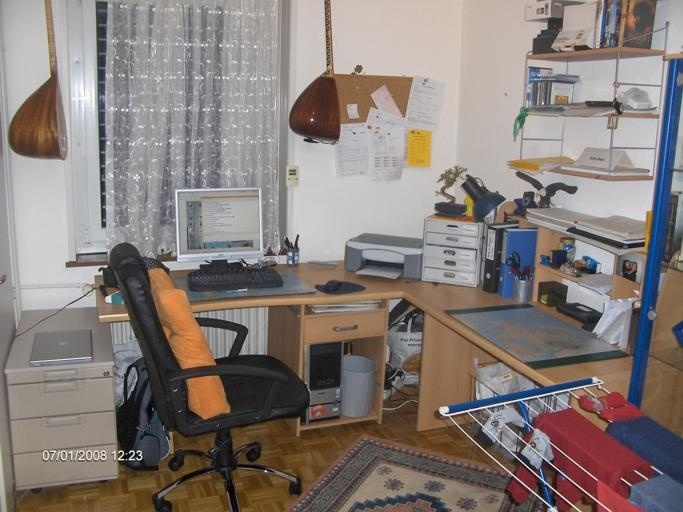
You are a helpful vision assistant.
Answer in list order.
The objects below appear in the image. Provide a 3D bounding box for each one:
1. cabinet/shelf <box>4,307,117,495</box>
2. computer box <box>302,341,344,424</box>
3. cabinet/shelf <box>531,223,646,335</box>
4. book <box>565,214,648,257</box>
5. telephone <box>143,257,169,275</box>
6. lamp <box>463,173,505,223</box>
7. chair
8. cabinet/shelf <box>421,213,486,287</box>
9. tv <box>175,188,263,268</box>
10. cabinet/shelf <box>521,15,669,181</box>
[{"bbox_3d":[-1.299,0.688,2.977,0.473,0.759,0.822,-2,4,-16],"label":"cabinet/shelf"},{"bbox_3d":[-0.164,0.731,3.327,0.254,0.460,0.298,1,1,-28],"label":"computer box"},{"bbox_3d":[1.222,0.112,2.712,0.171,0.373,0.440,-9,20,-25],"label":"cabinet/shelf"},{"bbox_3d":[1.304,-0.117,2.589,0.211,0.067,0.212,-12,21,-30],"label":"book"},{"bbox_3d":[-0.918,0.041,2.732,0.115,0.061,0.157,1,7,-28],"label":"telephone"},{"bbox_3d":[0.797,-0.319,3.130,0.222,0.263,0.438,0,14,13],"label":"lamp"},{"bbox_3d":[-0.676,0.635,2.779,1.001,1.462,0.874,-3,18,-18],"label":"chair"},{"bbox_3d":[0.667,-0.093,3.426,0.460,0.518,0.356,5,8,30],"label":"cabinet/shelf"},{"bbox_3d":[-0.716,-0.179,3.217,0.446,0.382,0.048,-2,7,-17],"label":"tv"},{"bbox_3d":[1.266,-0.774,2.711,0.302,0.864,0.898,-3,14,-15],"label":"cabinet/shelf"}]
